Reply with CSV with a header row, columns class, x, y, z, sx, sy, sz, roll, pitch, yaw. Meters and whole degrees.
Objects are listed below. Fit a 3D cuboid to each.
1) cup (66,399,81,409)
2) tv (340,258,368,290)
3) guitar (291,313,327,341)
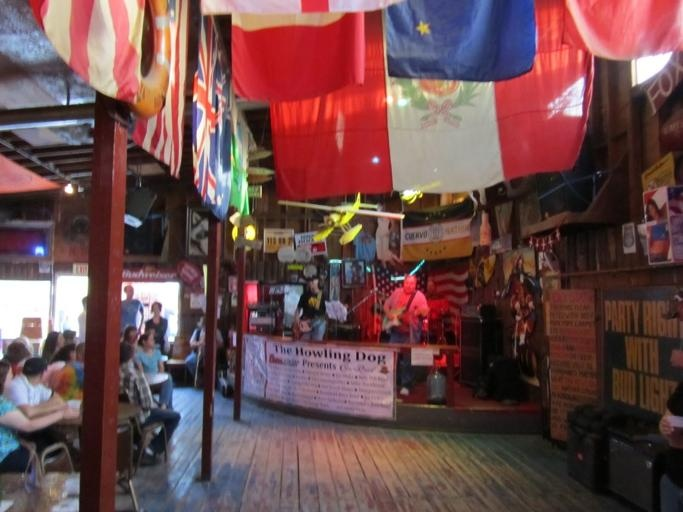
class,x,y,z,sx,sy,sz,roll,pitch,yaw
cup,-3.133,1.723,7.053,0.135,0.139,0.160,6,-3,-11
tv,0.328,0.465,14.918,0.526,0.693,0.088,-2,-3,7
guitar,-0.615,1.409,11.692,0.412,0.259,0.584,-9,-11,28
